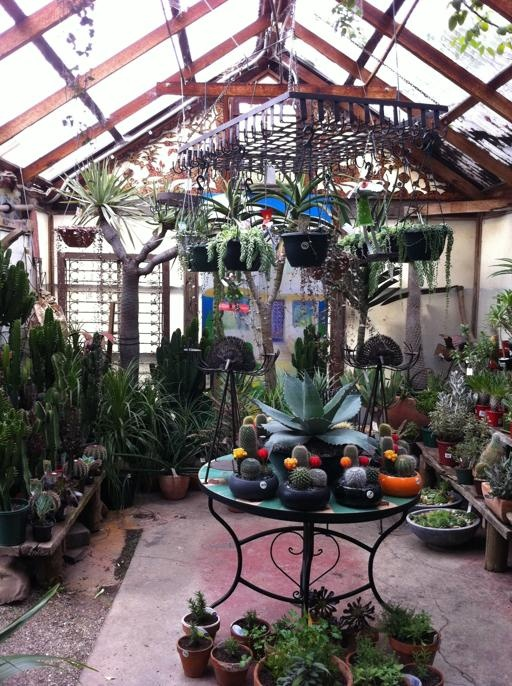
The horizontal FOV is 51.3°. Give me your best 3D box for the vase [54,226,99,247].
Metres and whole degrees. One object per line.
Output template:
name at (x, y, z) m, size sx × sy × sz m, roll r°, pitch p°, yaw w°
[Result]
vase at (-1.616, -0.958, 4.791) m, size 0.325 × 0.188 × 0.356 m, roll 2°, pitch 0°, yaw -34°
